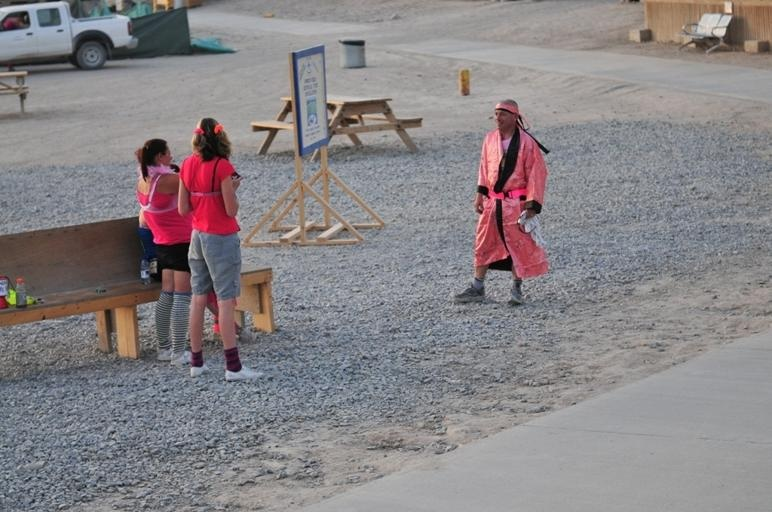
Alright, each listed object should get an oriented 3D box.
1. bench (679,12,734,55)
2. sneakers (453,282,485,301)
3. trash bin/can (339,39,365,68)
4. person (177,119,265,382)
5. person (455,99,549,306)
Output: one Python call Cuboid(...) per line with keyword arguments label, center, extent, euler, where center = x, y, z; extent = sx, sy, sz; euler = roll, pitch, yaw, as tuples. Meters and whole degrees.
Cuboid(label="bench", center=(8.282, -5.731, 30.296), extent=(0.804, 0.699, 1.222), euler=(-26, 27, -10))
Cuboid(label="sneakers", center=(1.027, 0.469, 14.549), extent=(0.456, 0.182, 0.160), euler=(-1, 8, -7))
Cuboid(label="trash bin/can", center=(-0.851, -5.181, 30.020), extent=(0.626, 0.713, 0.621), euler=(-4, 18, -3))
Cuboid(label="person", center=(-1.894, -0.059, 12.841), extent=(0.741, 2.802, 0.842), euler=(-6, 19, -7))
Cuboid(label="person", center=(1.445, -0.662, 14.378), extent=(0.997, 2.444, 0.758), euler=(-1, 19, 7))
